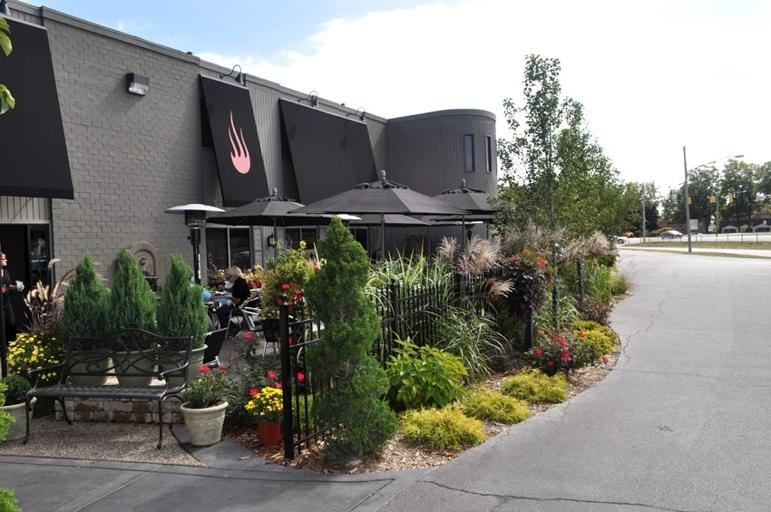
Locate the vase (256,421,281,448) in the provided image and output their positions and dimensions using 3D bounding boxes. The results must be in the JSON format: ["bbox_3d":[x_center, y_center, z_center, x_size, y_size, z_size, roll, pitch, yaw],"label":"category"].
[{"bbox_3d":[-1.773,2.708,9.397,0.320,0.319,0.381,0,-5,-16],"label":"vase"}]

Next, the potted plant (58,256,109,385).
[{"bbox_3d":[-5.184,1.097,10.714,0.819,2.236,0.906,-10,-16,-3],"label":"potted plant"}]

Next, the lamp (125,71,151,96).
[{"bbox_3d":[-6.958,-4.802,17.126,0.231,0.726,0.758,0,0,20],"label":"lamp"}]

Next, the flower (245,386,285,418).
[{"bbox_3d":[-1.852,2.315,9.488,0.370,0.382,0.426,18,-24,-33],"label":"flower"}]

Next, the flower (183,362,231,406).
[{"bbox_3d":[-2.835,2.057,9.757,0.583,0.600,0.618,1,6,-11],"label":"flower"}]

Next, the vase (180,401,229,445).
[{"bbox_3d":[-2.815,2.584,9.631,0.691,0.623,0.748,-1,3,20],"label":"vase"}]

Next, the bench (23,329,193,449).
[{"bbox_3d":[-4.446,2.063,9.897,2.214,1.781,1.190,0,-3,8],"label":"bench"}]
